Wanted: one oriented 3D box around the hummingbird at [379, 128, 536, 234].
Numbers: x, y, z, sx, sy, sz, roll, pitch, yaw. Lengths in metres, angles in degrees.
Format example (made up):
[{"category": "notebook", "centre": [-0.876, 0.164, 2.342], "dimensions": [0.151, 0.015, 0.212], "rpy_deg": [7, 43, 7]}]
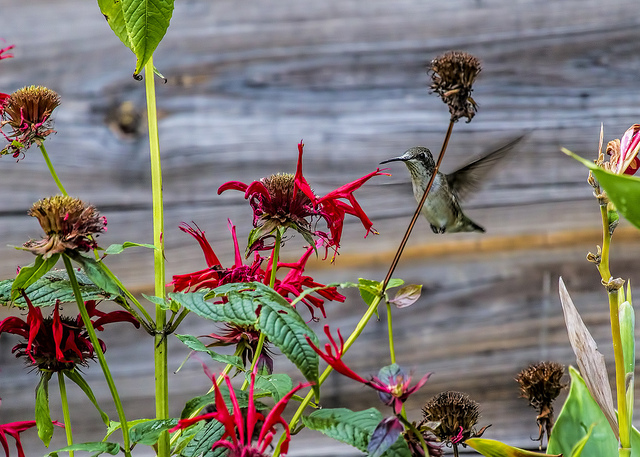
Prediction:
[{"category": "hummingbird", "centre": [0.345, -0.121, 2.867], "dimensions": [0.270, 0.249, 0.407], "rpy_deg": [-5, -6, 14]}]
